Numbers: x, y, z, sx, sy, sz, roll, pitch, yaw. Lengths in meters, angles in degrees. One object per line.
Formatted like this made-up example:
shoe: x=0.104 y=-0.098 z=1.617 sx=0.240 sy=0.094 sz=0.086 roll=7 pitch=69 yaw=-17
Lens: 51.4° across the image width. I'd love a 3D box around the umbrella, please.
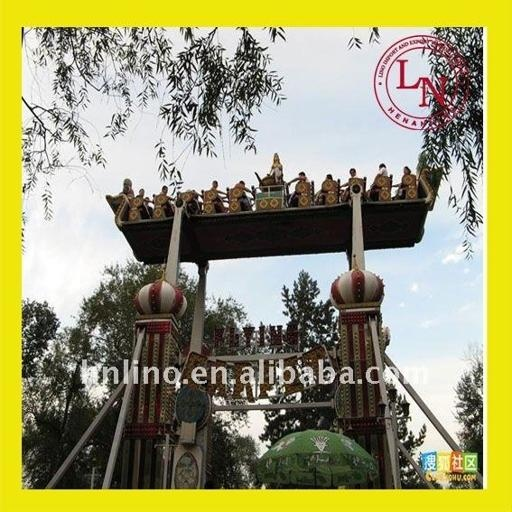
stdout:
umbrella: x=1.058 y=3.357 z=8.850 sx=1.847 sy=0.854 sz=2.087 roll=-7 pitch=-24 yaw=13
